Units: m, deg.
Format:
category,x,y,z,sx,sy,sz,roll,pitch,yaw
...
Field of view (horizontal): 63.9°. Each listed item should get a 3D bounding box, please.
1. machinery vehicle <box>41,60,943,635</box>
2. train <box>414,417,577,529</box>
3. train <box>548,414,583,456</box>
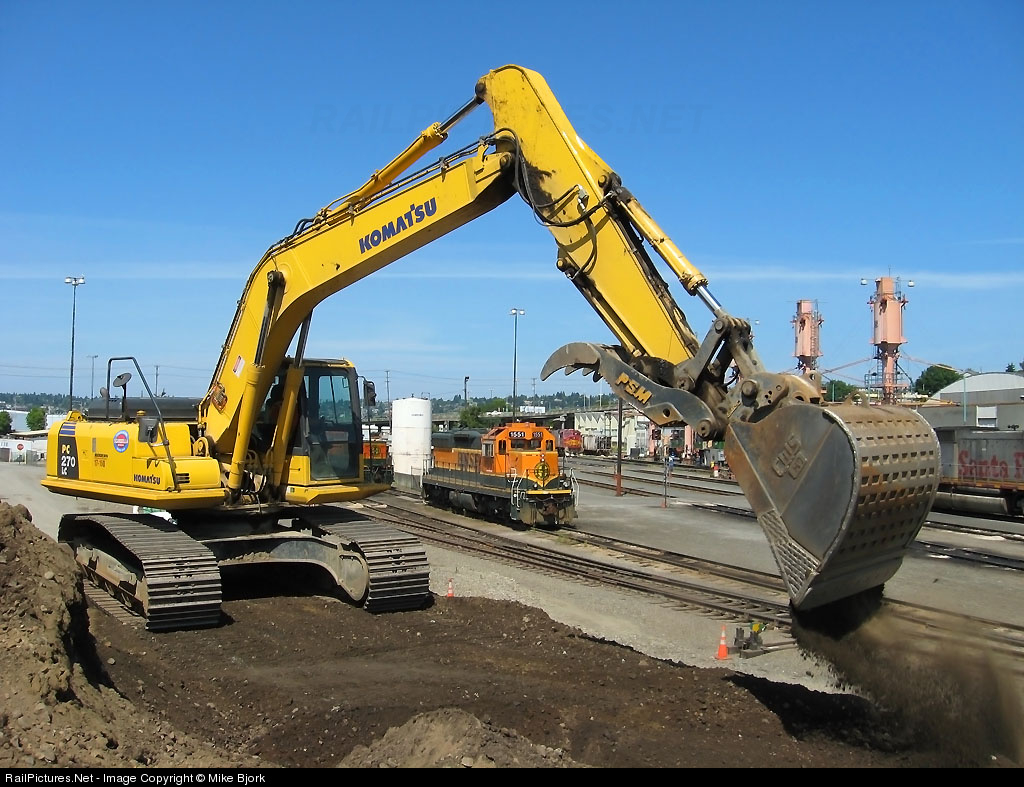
category,x,y,z,sx,sy,sz,roll,pitch,yaw
machinery vehicle,-1.337,-0.491,13.707,15.114,6.590,3.781,-2,-1,28
train,-0.899,2.902,32.376,2.580,3.675,9.120,-1,-1,-30
train,6.559,4.588,91.920,3.111,3.160,5.358,0,-2,-16
